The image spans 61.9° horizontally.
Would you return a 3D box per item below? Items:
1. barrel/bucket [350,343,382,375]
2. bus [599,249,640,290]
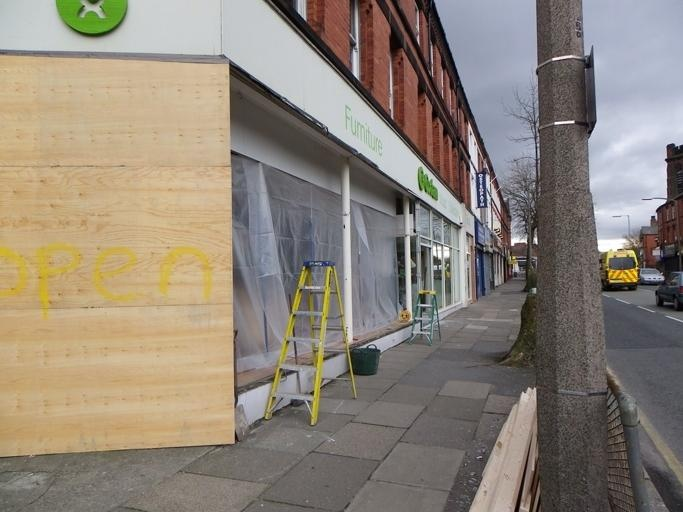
[{"bbox_3d":[0.404,1.721,9.582,0.442,0.433,0.408,-3,-3,0],"label":"barrel/bucket"},{"bbox_3d":[17.284,0.848,35.581,2.359,2.959,5.010,-1,-1,21],"label":"bus"}]
